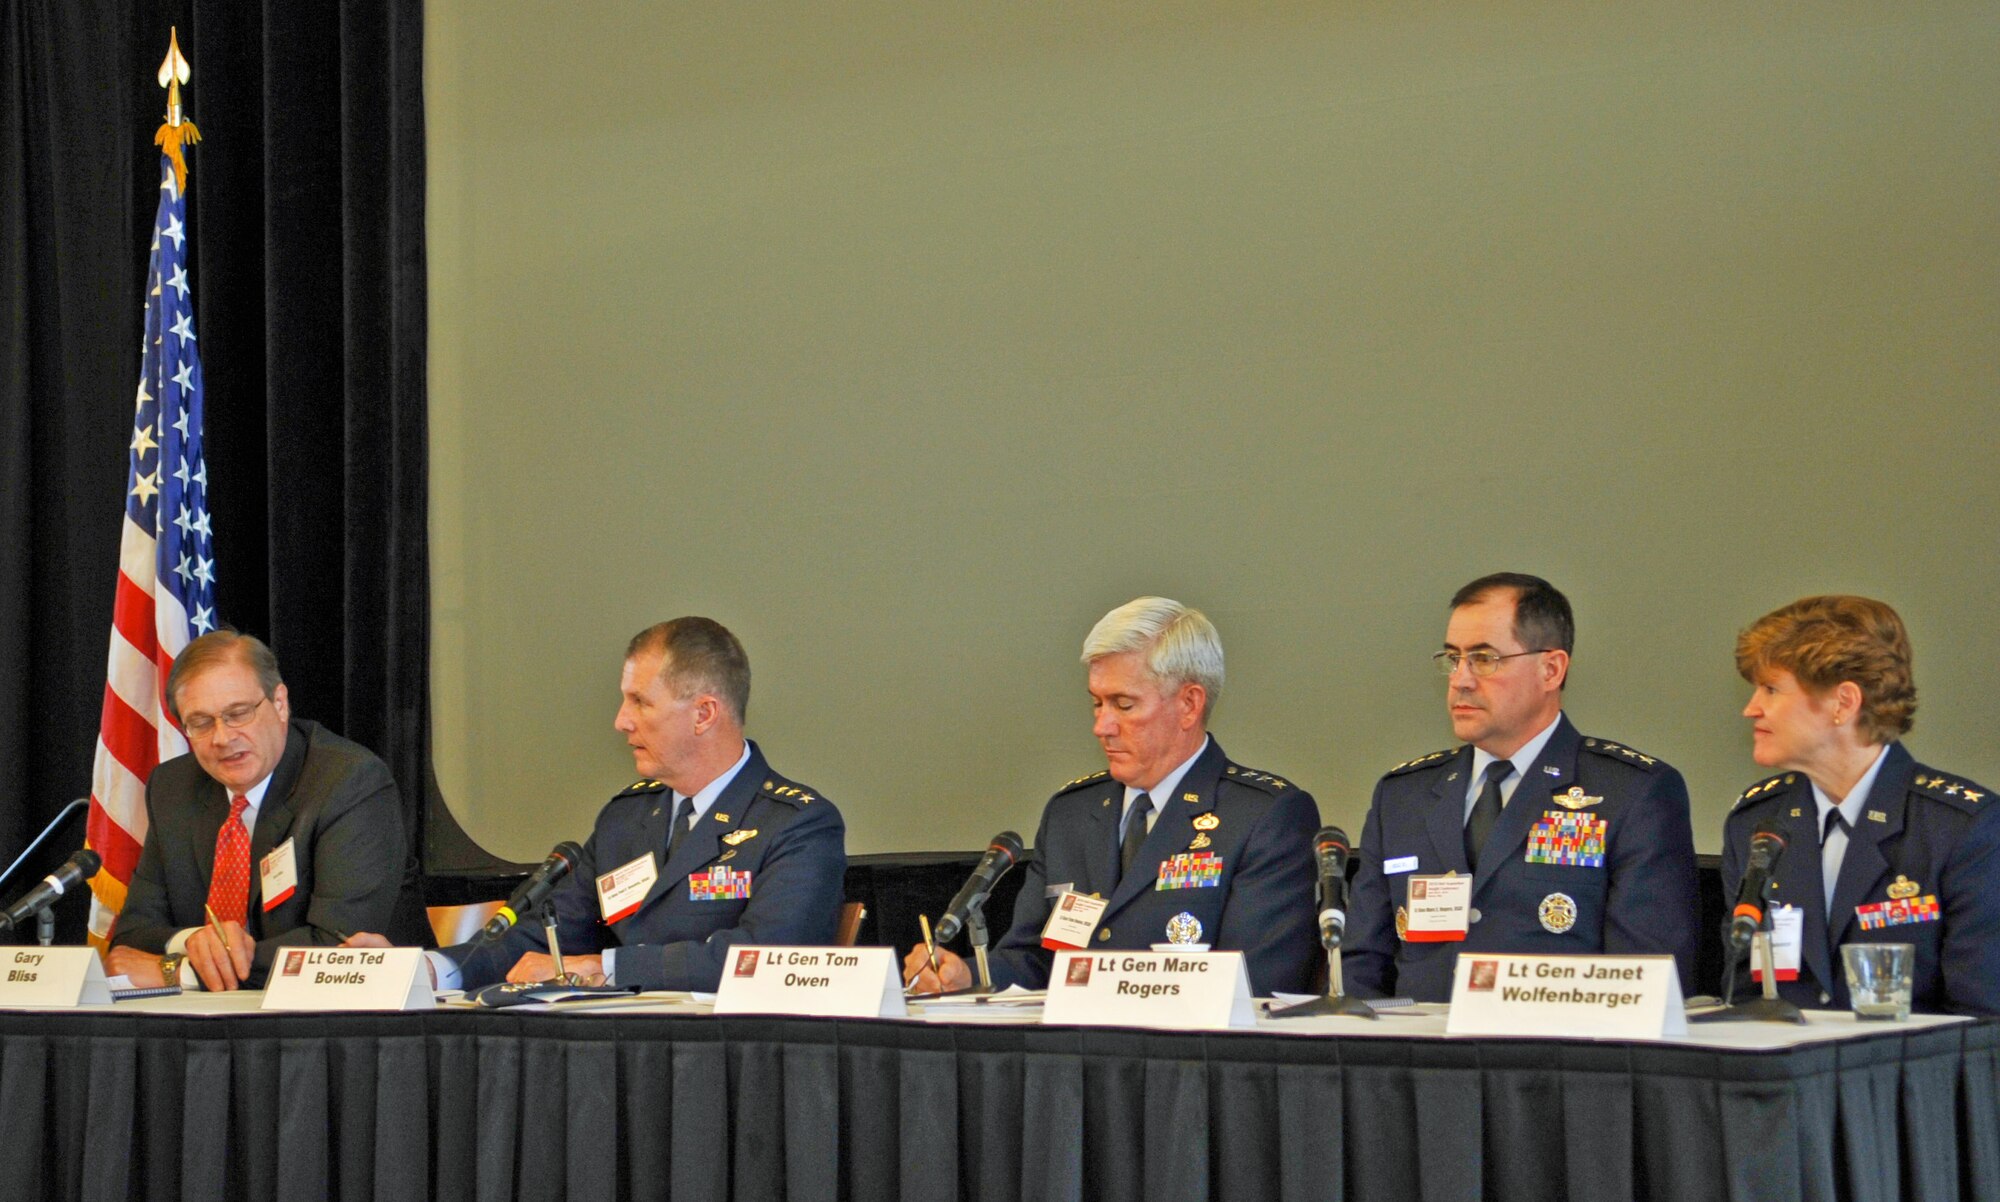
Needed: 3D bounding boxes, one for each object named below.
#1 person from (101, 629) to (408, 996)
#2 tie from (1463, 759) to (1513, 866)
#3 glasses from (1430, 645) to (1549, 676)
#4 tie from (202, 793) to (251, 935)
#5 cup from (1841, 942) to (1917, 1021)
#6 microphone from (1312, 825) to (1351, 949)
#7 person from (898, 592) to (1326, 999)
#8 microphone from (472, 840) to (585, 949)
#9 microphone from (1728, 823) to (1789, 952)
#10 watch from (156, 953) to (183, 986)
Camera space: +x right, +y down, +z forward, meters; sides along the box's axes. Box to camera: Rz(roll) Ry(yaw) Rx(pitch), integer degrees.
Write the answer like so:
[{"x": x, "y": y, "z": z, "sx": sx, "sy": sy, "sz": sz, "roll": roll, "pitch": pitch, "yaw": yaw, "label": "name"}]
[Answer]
[{"x": -2.491, "y": 0.738, "z": 7.961, "sx": 0.700, "sy": 1.330, "sz": 0.750, "roll": -13, "pitch": -16, "yaw": 22, "label": "person"}, {"x": 1.479, "y": 0.649, "z": 7.322, "sx": 0.089, "sy": 0.442, "sz": 0.116, "roll": 14, "pitch": -28, "yaw": 19, "label": "tie"}, {"x": 1.493, "y": 0.180, "z": 7.274, "sx": 0.166, "sy": 0.047, "sz": 0.159, "roll": 6, "pitch": -10, "yaw": -34, "label": "glasses"}, {"x": -2.510, "y": 0.849, "z": 7.886, "sx": 0.167, "sy": 0.415, "sz": 0.075, "roll": -2, "pitch": -19, "yaw": 21, "label": "tie"}, {"x": 2.367, "y": 1.021, "z": 6.478, "sx": 0.163, "sy": 0.236, "sz": 0.174, "roll": 5, "pitch": -19, "yaw": 2, "label": "cup"}, {"x": 0.932, "y": 0.760, "z": 6.656, "sx": 0.094, "sy": 0.360, "sz": 0.095, "roll": 11, "pitch": -59, "yaw": -3, "label": "microphone"}, {"x": 0.513, "y": 0.618, "z": 7.445, "sx": 1.017, "sy": 1.184, "sz": 0.548, "roll": 4, "pitch": -18, "yaw": 4, "label": "person"}, {"x": -1.514, "y": 0.963, "z": 7.758, "sx": 0.095, "sy": 0.460, "sz": 0.141, "roll": 20, "pitch": -44, "yaw": 21, "label": "microphone"}, {"x": 2.036, "y": 0.777, "z": 6.508, "sx": 0.109, "sy": 0.408, "sz": 0.110, "roll": 23, "pitch": -31, "yaw": 1, "label": "microphone"}, {"x": -2.549, "y": 1.143, "z": 7.437, "sx": 0.074, "sy": 0.080, "sz": 0.090, "roll": 2, "pitch": 2, "yaw": -5, "label": "watch"}]
